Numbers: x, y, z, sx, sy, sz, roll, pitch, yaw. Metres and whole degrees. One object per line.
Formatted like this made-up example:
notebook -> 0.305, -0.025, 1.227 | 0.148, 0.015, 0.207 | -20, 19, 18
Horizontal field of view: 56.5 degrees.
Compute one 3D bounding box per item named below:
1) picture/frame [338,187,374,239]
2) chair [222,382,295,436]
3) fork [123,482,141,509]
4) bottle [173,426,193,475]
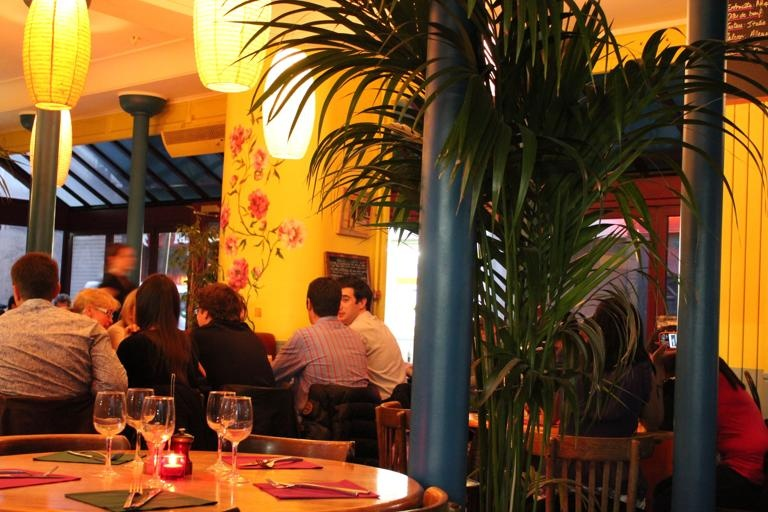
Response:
picture/frame -> -0.254, -0.405, 7.060 | 0.350, 0.411, 0.039 | 2, -10, 30
chair -> -0.653, 0.876, 4.114 | 0.334, 0.325, 0.269 | 5, -8, -5
fork -> -0.886, 0.853, 2.530 | 0.031, 0.029, 0.198 | 3, 9, -10
bottle -> -0.815, 0.784, 2.875 | 0.093, 0.171, 0.092 | 1, -8, 0
